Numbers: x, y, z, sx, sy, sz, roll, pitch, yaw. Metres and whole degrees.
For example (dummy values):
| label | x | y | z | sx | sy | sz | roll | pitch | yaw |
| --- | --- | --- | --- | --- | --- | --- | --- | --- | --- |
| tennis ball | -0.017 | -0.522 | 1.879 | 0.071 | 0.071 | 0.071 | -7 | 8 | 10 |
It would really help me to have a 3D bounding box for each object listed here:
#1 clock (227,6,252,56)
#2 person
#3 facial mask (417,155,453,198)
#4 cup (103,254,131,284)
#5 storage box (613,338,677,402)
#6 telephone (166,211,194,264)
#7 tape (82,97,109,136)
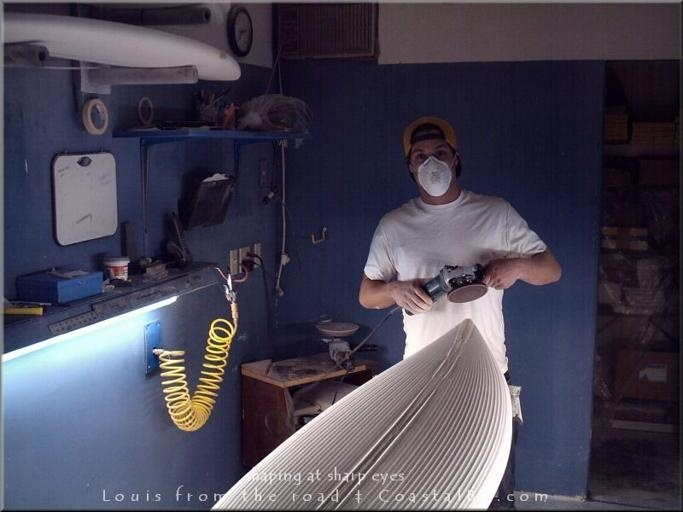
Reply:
| label | x | y | z | sx | sy | sz | roll | pitch | yaw |
| --- | --- | --- | --- | --- | --- | --- | --- | --- | --- |
| clock | -0.451 | -1.013 | 2.618 | 0.057 | 0.221 | 0.215 | 2 | 4 | 15 |
| person | 0.433 | 0.282 | 2.202 | 0.720 | 1.622 | 0.475 | 1 | 4 | 1 |
| facial mask | 0.343 | -0.293 | 2.137 | 0.110 | 0.146 | 0.046 | -2 | 5 | 10 |
| cup | -0.772 | 0.041 | 2.000 | 0.079 | 0.081 | 0.082 | -1 | -4 | 0 |
| storage box | 1.451 | 0.550 | 2.782 | 0.271 | 0.270 | 0.068 | 3 | 2 | 13 |
| telephone | -0.647 | -0.073 | 2.313 | 0.079 | 0.203 | 0.091 | 2 | 4 | 12 |
| tape | -0.834 | -0.476 | 1.976 | 0.022 | 0.106 | 0.102 | 0 | 3 | 16 |
